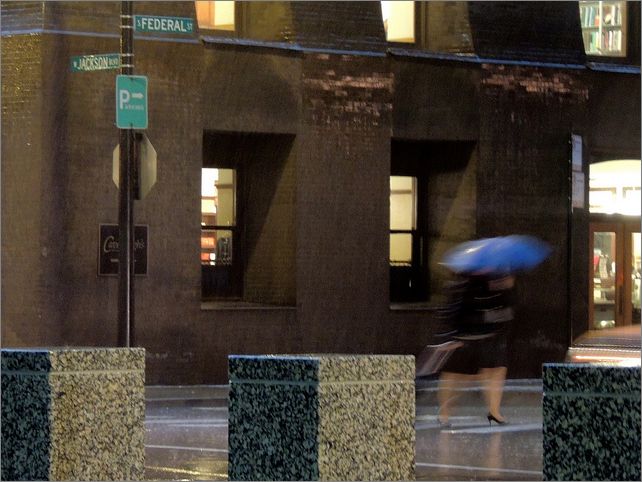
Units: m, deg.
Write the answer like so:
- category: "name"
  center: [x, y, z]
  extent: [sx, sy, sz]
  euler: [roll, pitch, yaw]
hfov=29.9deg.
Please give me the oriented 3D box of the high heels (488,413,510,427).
- category: "high heels"
  center: [2.601, 2.645, 17.714]
  extent: [0.339, 0.210, 0.132]
  euler: [1, 1, 0]

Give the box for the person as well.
- category: "person"
  center: [2.177, 1.500, 17.756]
  extent: [1.120, 1.017, 3.432]
  euler: [3, 46, 9]

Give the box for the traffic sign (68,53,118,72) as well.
- category: "traffic sign"
  center: [-3.433, -2.734, 18.177]
  extent: [0.862, 0.240, 0.201]
  euler: [2, 2, 20]
